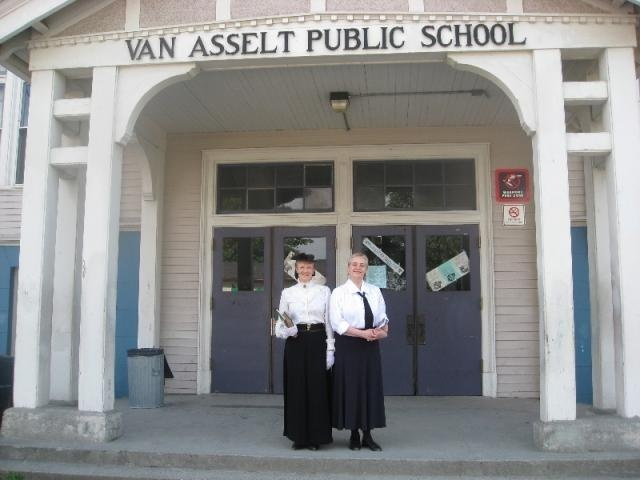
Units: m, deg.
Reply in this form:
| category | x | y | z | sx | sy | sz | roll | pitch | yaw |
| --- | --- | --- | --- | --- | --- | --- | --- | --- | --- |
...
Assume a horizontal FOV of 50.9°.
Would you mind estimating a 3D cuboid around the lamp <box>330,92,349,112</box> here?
| category | x | y | z | sx | sy | sz | roll | pitch | yaw |
| --- | --- | --- | --- | --- | --- | --- | --- | --- | --- |
| lamp | 0.247 | -1.789 | 8.726 | 0.264 | 0.227 | 0.296 | 0 | 1 | 1 |

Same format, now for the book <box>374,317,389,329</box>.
| category | x | y | z | sx | sy | sz | roll | pitch | yaw |
| --- | --- | --- | --- | --- | --- | --- | --- | --- | --- |
| book | 0.629 | 0.849 | 7.010 | 0.128 | 0.044 | 0.101 | -35 | -25 | 10 |

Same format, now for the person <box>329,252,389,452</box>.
| category | x | y | z | sx | sy | sz | roll | pitch | yaw |
| --- | --- | --- | --- | --- | --- | --- | --- | --- | --- |
| person | 0.388 | 1.145 | 6.920 | 0.596 | 1.990 | 0.342 | 0 | 0 | 1 |

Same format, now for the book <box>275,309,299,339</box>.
| category | x | y | z | sx | sy | sz | roll | pitch | yaw |
| --- | --- | --- | --- | --- | --- | --- | --- | --- | --- |
| book | -0.352 | 0.886 | 6.928 | 0.216 | 0.300 | 0.265 | 0 | 1 | 6 |

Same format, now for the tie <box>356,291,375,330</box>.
| category | x | y | z | sx | sy | sz | roll | pitch | yaw |
| --- | --- | --- | --- | --- | --- | --- | --- | --- | --- |
| tie | 0.478 | 0.732 | 6.912 | 0.066 | 0.299 | 0.209 | -8 | 5 | -10 |

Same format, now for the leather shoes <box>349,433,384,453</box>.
| category | x | y | z | sx | sy | sz | roll | pitch | yaw |
| --- | --- | --- | --- | --- | --- | --- | --- | --- | --- |
| leather shoes | 0.442 | 2.053 | 6.883 | 0.136 | 0.183 | 0.403 | 10 | -18 | -41 |

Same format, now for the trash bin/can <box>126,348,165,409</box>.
| category | x | y | z | sx | sy | sz | roll | pitch | yaw |
| --- | --- | --- | --- | --- | --- | --- | --- | --- | --- |
| trash bin/can | -2.298 | 1.809 | 8.822 | 0.455 | 0.731 | 0.396 | 0 | 0 | -16 |
